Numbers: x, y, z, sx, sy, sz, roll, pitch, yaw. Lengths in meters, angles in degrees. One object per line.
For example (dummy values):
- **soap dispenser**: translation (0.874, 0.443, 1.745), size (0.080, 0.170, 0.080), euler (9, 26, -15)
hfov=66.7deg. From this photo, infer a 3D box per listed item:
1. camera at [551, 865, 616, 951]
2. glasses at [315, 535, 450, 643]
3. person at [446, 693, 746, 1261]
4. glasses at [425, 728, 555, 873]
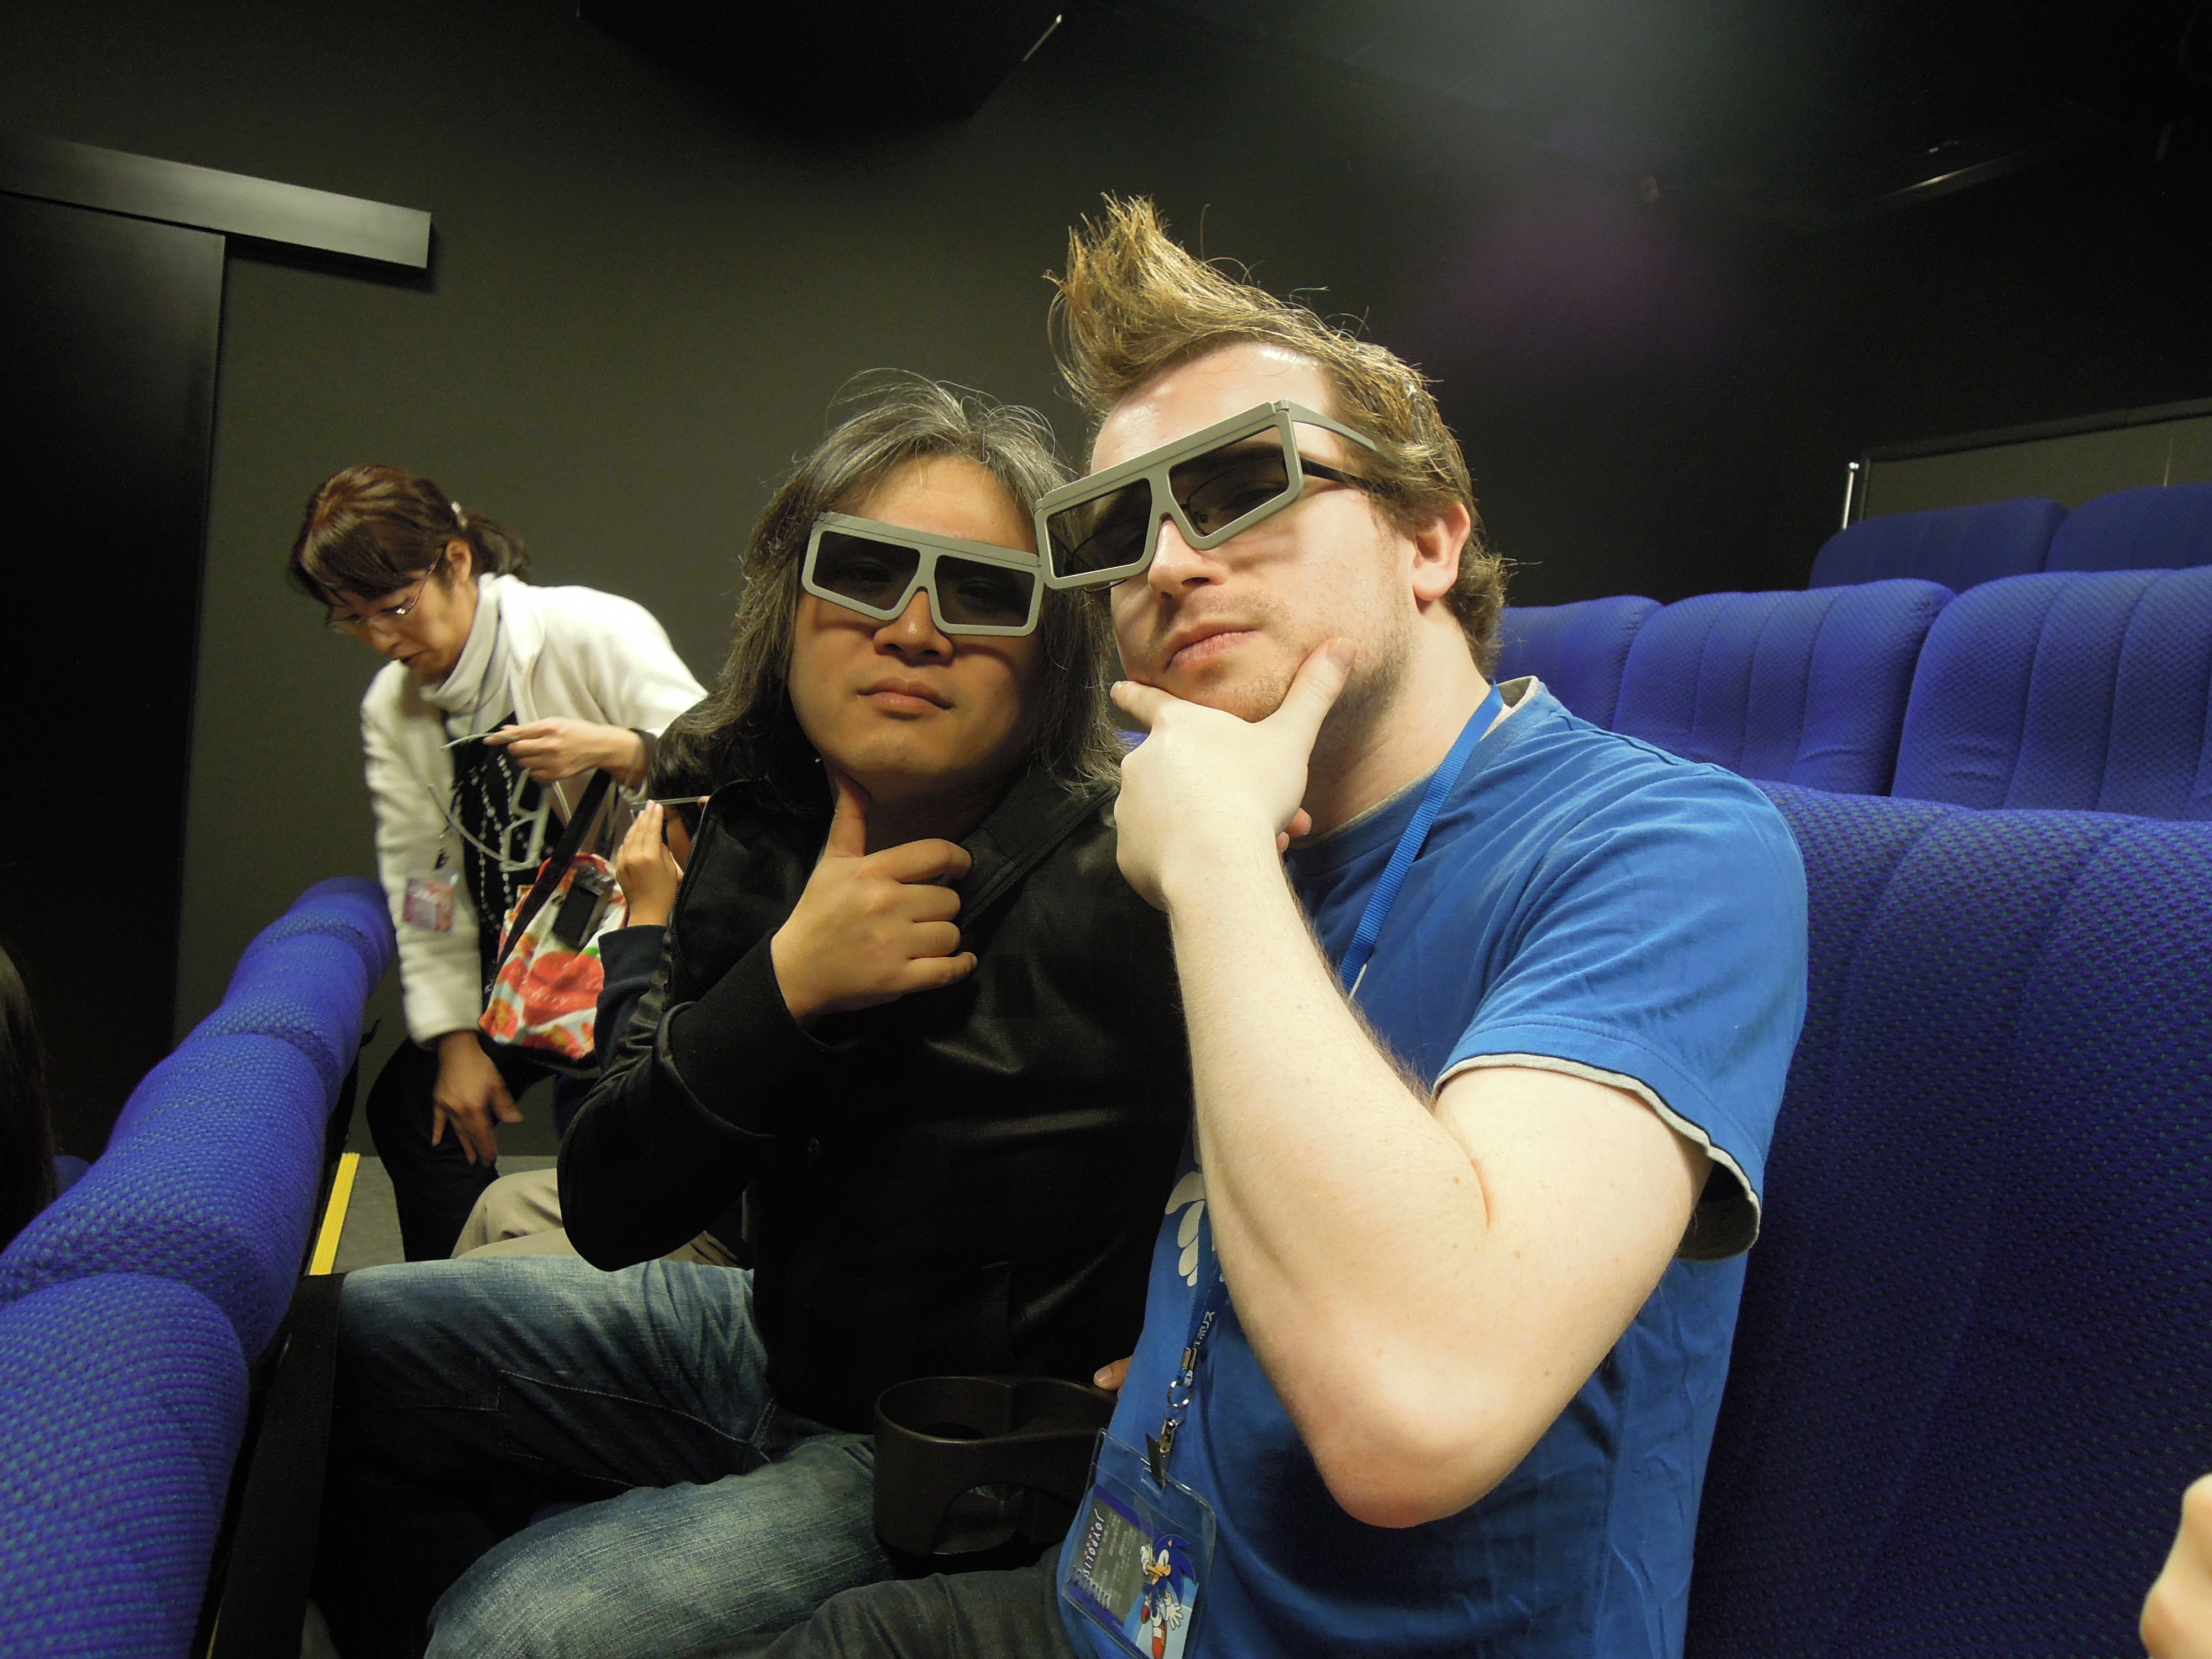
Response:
- **camera**: translation (-0.840, 0.116, 2.705), size (0.076, 0.136, 0.072), euler (21, 14, -10)
- **glasses**: translation (-1.269, -0.397, 2.973), size (0.148, 0.201, 0.189), euler (-7, -4, 25)
- **person**: translation (-0.652, 0.231, 2.454), size (0.536, 0.724, 0.213), euler (-4, -7, 36)
- **glasses**: translation (-1.100, -0.067, 3.014), size (0.179, 0.256, 0.135), euler (-18, 6, -2)
